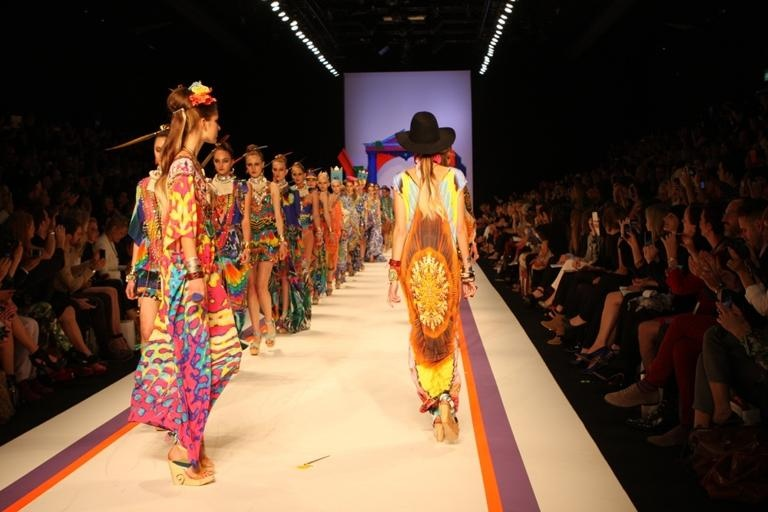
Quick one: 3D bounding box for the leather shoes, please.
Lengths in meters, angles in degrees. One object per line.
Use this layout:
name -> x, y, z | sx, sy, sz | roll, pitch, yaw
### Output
leather shoes -> 1.886, 1.140, 3.559 | 0.237, 0.153, 0.440 | -7, 15, 12

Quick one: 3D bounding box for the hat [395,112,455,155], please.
hat -> 0.300, -0.871, 3.705 | 0.319, 0.153, 0.391 | -1, 32, 3

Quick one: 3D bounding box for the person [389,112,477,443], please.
person -> 0.328, 0.122, 3.539 | 0.528, 2.281, 0.504 | 3, 7, 30

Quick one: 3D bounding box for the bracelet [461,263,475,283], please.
bracelet -> 0.622, 0.125, 3.645 | 0.087, 0.126, 0.125 | 0, -5, 17

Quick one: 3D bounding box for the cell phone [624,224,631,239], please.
cell phone -> 2.424, -0.245, 4.916 | 0.044, 0.201, 0.106 | 2, -16, 11
